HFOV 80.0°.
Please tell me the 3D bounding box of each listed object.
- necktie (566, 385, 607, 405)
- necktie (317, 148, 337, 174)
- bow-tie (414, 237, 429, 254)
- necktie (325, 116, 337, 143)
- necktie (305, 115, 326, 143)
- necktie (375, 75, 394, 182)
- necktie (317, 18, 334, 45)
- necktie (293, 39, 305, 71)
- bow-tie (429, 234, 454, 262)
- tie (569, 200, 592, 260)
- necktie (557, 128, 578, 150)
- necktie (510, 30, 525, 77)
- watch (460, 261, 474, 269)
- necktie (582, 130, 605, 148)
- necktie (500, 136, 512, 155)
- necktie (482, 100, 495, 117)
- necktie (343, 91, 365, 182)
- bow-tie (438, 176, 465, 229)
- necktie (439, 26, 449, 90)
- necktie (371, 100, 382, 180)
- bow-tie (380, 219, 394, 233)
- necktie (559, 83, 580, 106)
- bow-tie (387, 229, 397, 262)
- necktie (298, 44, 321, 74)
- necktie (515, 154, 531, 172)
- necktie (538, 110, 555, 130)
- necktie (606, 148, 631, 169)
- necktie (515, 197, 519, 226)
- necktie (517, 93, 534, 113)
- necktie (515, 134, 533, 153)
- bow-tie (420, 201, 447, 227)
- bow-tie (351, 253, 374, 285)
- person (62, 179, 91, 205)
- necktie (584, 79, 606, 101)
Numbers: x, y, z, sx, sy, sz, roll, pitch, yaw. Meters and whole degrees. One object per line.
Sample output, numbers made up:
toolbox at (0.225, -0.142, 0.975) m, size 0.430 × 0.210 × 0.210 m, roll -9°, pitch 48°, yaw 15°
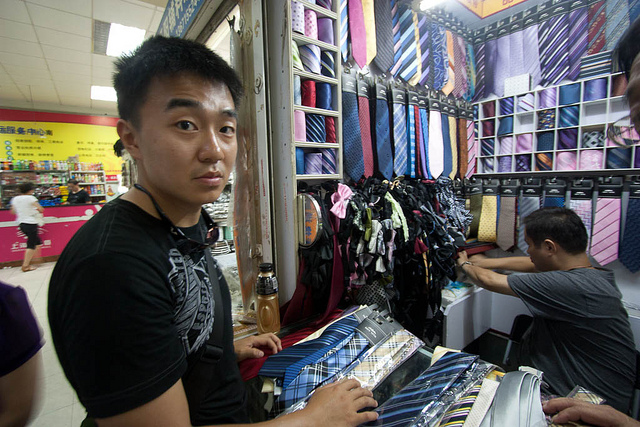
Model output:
necktie at (1.650, 1.109, 2.336) m, size 0.134 × 0.038 × 0.138 m, roll 8°, pitch 8°, yaw -41°
necktie at (0.073, -0.447, 3.298) m, size 0.190 × 0.220 × 0.193 m, roll -1°, pitch 6°, yaw 1°
bow-tie at (0.871, 0.294, 3.287) m, size 0.112 × 0.143 × 0.030 m, roll -2°, pitch 2°, yaw -8°
necktie at (0.086, -0.716, 3.287) m, size 0.144 × 0.181 × 0.047 m, roll -5°, pitch 7°, yaw -32°
necktie at (-0.020, -0.721, 3.284) m, size 0.199 × 0.227 × 0.203 m, roll 8°, pitch 12°, yaw 21°
necktie at (0.594, -0.776, 3.688) m, size 0.250 × 1.058 × 0.071 m, roll -4°, pitch 1°, yaw -44°
necktie at (0.046, -1.589, 3.274) m, size 0.151 × 0.170 × 0.147 m, roll -21°, pitch 30°, yaw -35°
necktie at (-0.174, -1.273, 3.083) m, size 0.073 × 0.245 × 0.142 m, roll -1°, pitch 2°, yaw 7°
bow-tie at (1.095, 0.305, 3.461) m, size 0.094 × 0.240 × 0.173 m, roll -44°, pitch -12°, yaw 20°
tie at (2.682, 0.138, 3.977) m, size 0.288 × 0.664 × 0.070 m, roll 4°, pitch -5°, yaw -1°
necktie at (2.726, -0.812, 4.180) m, size 0.187 × 0.220 × 0.192 m, roll 1°, pitch 5°, yaw 12°
necktie at (2.345, -1.907, 4.547) m, size 0.165 × 0.056 × 0.562 m, roll -6°, pitch -43°, yaw 17°
watch at (1.373, 0.486, 3.556) m, size 0.092 × 0.088 × 0.063 m, roll -16°, pitch 32°, yaw 49°
necktie at (2.918, -0.789, 4.060) m, size 0.190 × 0.176 × 0.079 m, roll 0°, pitch 3°, yaw 35°
necktie at (2.245, -0.814, 4.604) m, size 0.043 × 0.216 × 0.155 m, roll -3°, pitch 3°, yaw -36°
necktie at (2.099, -1.295, 4.733) m, size 0.144 × 0.171 × 0.161 m, roll -3°, pitch 7°, yaw 2°
necktie at (0.289, -0.693, 3.417) m, size 0.201 × 0.783 × 0.051 m, roll -3°, pitch 2°, yaw -31°
bow-tie at (1.319, -0.110, 3.905) m, size 0.186 × 0.544 × 0.164 m, roll -13°, pitch -15°, yaw -8°
necktie at (1.400, -1.749, 4.365) m, size 0.135 × 0.756 × 0.038 m, roll -6°, pitch -1°, yaw -27°
necktie at (0.523, -0.686, 3.590) m, size 0.092 × 0.719 × 0.036 m, roll -1°, pitch 7°, yaw 0°
bow-tie at (0.545, 0.116, 3.103) m, size 0.079 × 0.088 × 0.099 m, roll -1°, pitch -25°, yaw -1°
necktie at (2.716, -1.293, 4.147) m, size 0.194 × 0.212 × 0.187 m, roll 2°, pitch 8°, yaw 39°
bow-tie at (0.597, 0.278, 3.161) m, size 0.039 × 0.275 × 0.126 m, roll 0°, pitch 2°, yaw 27°
necktie at (-0.093, -1.285, 3.243) m, size 0.238 × 0.252 × 0.221 m, roll -3°, pitch 7°, yaw -20°
necktie at (2.396, -0.580, 4.475) m, size 0.042 × 0.171 × 0.168 m, roll 2°, pitch -1°, yaw -34°
necktie at (2.567, -1.055, 4.297) m, size 0.029 × 0.181 × 0.214 m, roll -7°, pitch 12°, yaw -20°
necktie at (3.041, -0.542, 3.882) m, size 0.176 × 0.203 × 0.184 m, roll 4°, pitch -4°, yaw 34°
necktie at (2.198, -0.012, 4.256) m, size 0.018 × 0.303 × 0.071 m, roll 0°, pitch 3°, yaw 45°
necktie at (2.386, -1.289, 4.435) m, size 0.135 × 0.188 × 0.190 m, roll 27°, pitch 40°, yaw 24°
necktie at (2.394, -0.818, 4.453) m, size 0.176 × 0.178 × 0.181 m, roll 0°, pitch 1°, yaw 10°
bow-tie at (1.042, 0.033, 3.601) m, size 0.174 × 0.253 × 0.098 m, roll -43°, pitch -2°, yaw -29°
bow-tie at (0.347, 0.446, 3.044) m, size 0.163 × 0.251 × 0.075 m, roll 1°, pitch 4°, yaw -14°
person at (-5.250, -0.432, 8.130) m, size 0.499 × 0.861 × 0.314 m, roll 6°, pitch 9°, yaw 24°
necktie at (2.903, -1.294, 4.013) m, size 0.192 × 0.217 × 0.197 m, roll 3°, pitch 8°, yaw 10°
